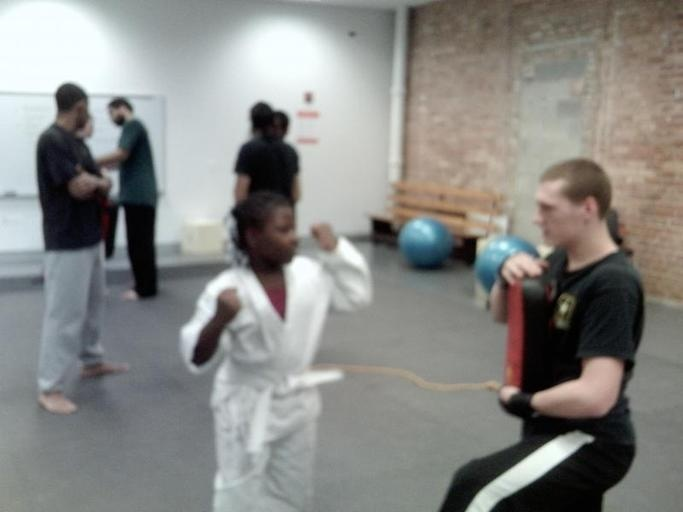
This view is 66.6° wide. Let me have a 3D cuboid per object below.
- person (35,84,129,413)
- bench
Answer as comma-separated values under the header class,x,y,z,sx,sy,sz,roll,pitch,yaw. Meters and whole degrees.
class,x,y,z,sx,sy,sz,roll,pitch,yaw
person,-1.346,-0.044,2.570,0.441,1.551,0.382,-11,17,-41
bench,1.082,-0.513,6.686,0.465,0.621,1.694,25,-3,-43
